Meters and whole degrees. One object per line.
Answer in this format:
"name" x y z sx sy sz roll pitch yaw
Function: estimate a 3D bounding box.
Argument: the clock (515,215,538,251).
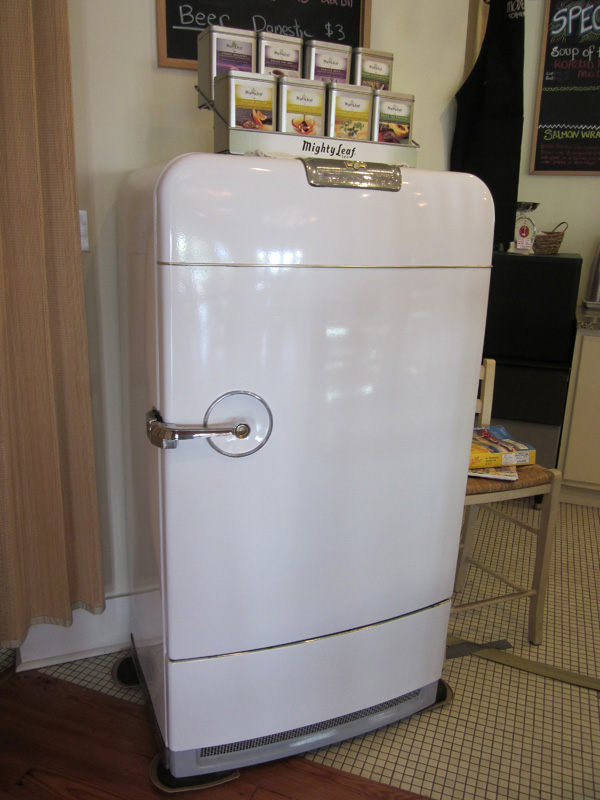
"clock" 0.991 -0.734 2.930 0.095 0.157 0.067 11 17 29

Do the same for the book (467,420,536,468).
"book" 0.572 0.131 1.915 0.163 0.036 0.155 -1 14 -13
